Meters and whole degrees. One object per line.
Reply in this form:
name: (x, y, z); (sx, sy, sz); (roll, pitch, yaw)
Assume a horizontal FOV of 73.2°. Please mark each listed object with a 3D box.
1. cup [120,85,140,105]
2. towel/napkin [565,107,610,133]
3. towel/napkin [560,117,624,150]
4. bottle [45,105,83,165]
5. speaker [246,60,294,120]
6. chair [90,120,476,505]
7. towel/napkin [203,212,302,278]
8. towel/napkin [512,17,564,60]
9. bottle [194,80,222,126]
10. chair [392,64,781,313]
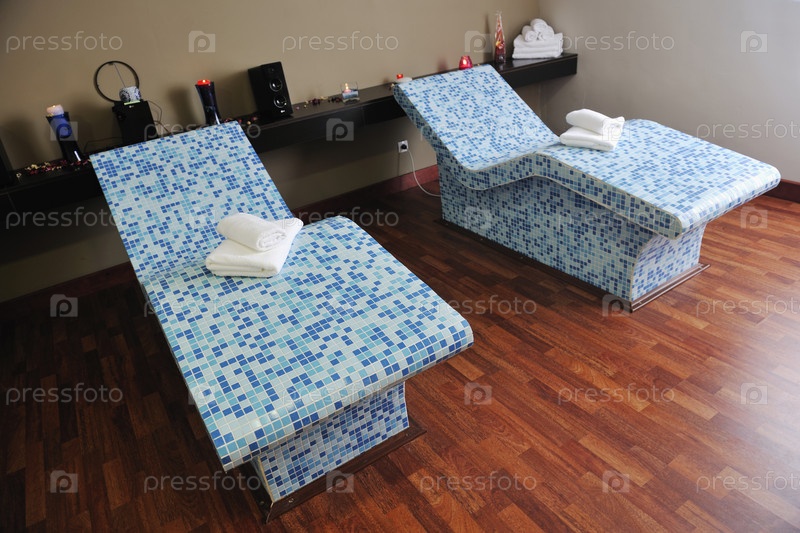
cup: (-1.548, -0.984, 3.095); (0.106, 0.078, 0.095); (-21, 36, -18)
towel/napkin: (1.053, -0.817, 3.047); (0.195, 0.095, 0.196); (13, 31, 25)
towel/napkin: (1.092, -0.779, 3.047); (0.287, 0.118, 0.372); (11, 38, 25)
bottle: (-1.873, -0.740, 3.005); (0.110, 0.295, 0.201); (-20, 36, -17)
speaker: (-0.832, -1.121, 3.420); (0.225, 0.287, 0.356); (-15, 35, -10)
chair: (-0.804, 0.104, 2.839); (1.141, 0.864, 2.300); (-22, 41, -32)
towel/napkin: (-0.670, -0.094, 2.447); (0.345, 0.141, 0.286); (9, 38, 12)
towel/napkin: (1.075, -1.772, 4.245); (0.341, 0.178, 0.361); (-4, 38, 0)
bottle: (-1.163, -1.003, 3.282); (0.113, 0.246, 0.277); (-18, 35, -14)
chair: (0.809, -0.586, 3.645); (1.192, 1.124, 2.613); (-26, 38, -36)
